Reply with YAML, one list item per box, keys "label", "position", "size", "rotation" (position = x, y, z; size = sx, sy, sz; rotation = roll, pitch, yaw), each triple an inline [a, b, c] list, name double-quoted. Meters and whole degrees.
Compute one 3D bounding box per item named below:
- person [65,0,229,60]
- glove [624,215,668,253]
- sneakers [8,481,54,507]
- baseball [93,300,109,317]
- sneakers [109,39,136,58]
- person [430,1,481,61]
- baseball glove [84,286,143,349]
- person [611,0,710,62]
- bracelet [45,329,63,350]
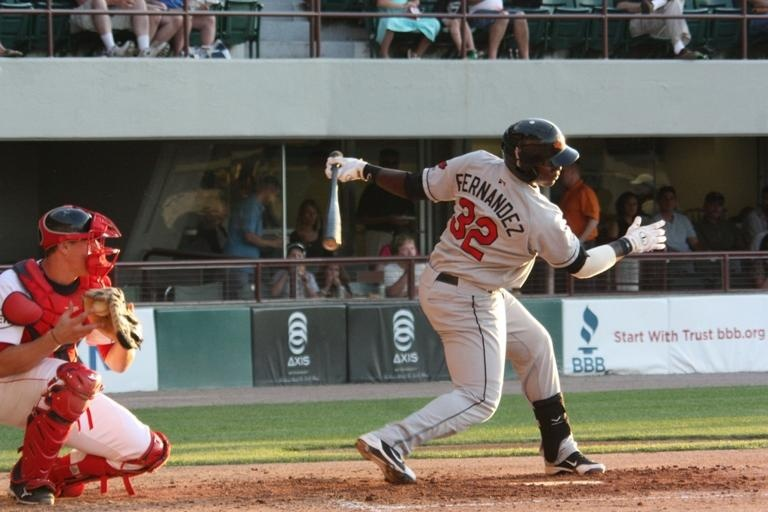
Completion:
- label: "person"
  position: [-3.575, -3.435, 28.249]
  size: [2.193, 0.913, 0.630]
  rotation: [-2, 4, -11]
- label: "glove"
  position: [3.335, -0.266, 24.028]
  size: [0.649, 0.408, 0.189]
  rotation: [-1, -10, -22]
- label: "sneakers"
  position: [-4.149, 2.811, 22.094]
  size: [0.453, 0.146, 0.255]
  rotation: [-2, -1, 32]
- label: "baseball"
  position: [-3.289, 0.618, 21.880]
  size: [0.158, 0.143, 0.159]
  rotation: [-1, 1, 7]
- label: "sneakers"
  position: [-3.925, -3.092, 28.039]
  size: [0.491, 0.161, 0.235]
  rotation: [-14, -16, 30]
- label: "person"
  position: [1.116, -3.506, 28.868]
  size: [0.720, 0.833, 0.248]
  rotation: [-10, -5, -19]
- label: "baseball glove"
  position: [-3.092, 0.711, 22.107]
  size: [0.586, 0.754, 0.319]
  rotation: [-21, 10, 28]
- label: "person"
  position: [4.319, -3.562, 29.432]
  size: [1.266, 1.127, 0.933]
  rotation: [4, 40, 4]
- label: "bracelet"
  position: [-3.804, 0.977, 21.917]
  size: [0.209, 0.191, 0.211]
  rotation: [15, 13, 27]
